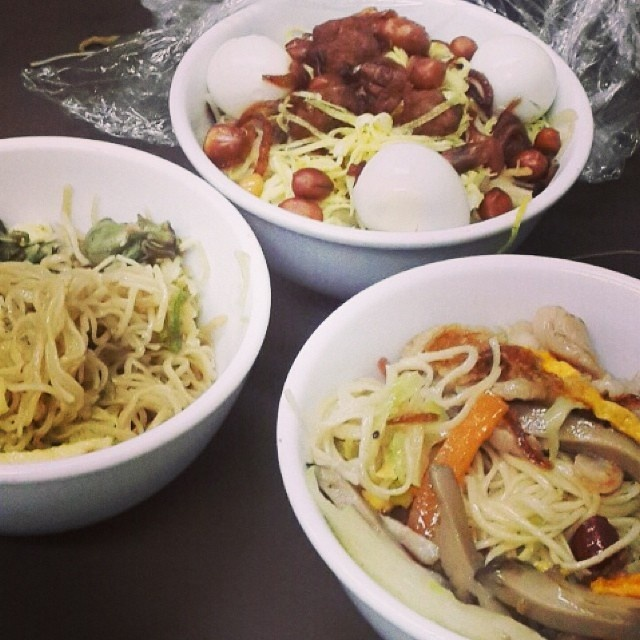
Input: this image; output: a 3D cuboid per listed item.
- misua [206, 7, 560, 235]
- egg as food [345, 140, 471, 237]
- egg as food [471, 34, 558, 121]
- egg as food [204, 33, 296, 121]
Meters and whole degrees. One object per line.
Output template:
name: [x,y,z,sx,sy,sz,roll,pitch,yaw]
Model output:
misua: [0.101,-0.339,1.230,0.463,0.153,0.447,18,35,26]
egg as food: [0.136,-0.195,1.118,0.161,0.093,0.125,21,95,3]
egg as food: [0.325,-0.420,1.320,0.150,0.109,0.139,37,58,-32]
egg as food: [-0.121,-0.405,1.210,0.136,0.073,0.126,-6,72,2]
